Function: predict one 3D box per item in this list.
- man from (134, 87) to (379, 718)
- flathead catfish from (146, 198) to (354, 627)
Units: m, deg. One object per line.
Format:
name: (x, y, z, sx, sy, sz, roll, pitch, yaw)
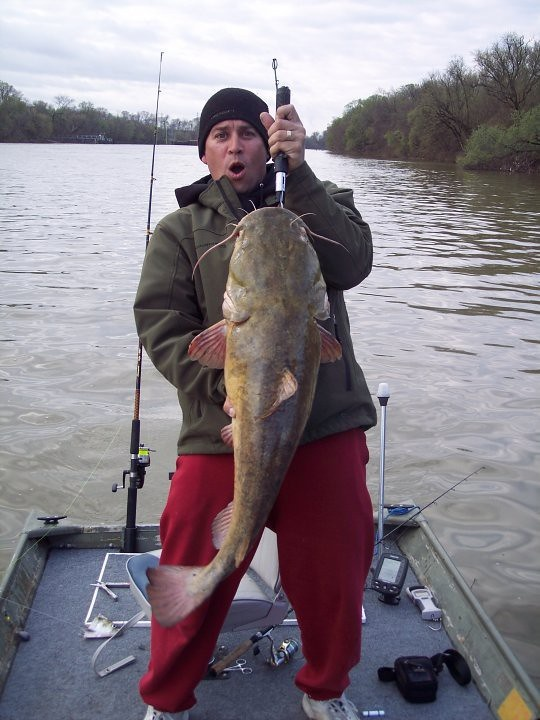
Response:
man: (-0.033, 0.005, 2.258, 0.990, 2.256, 0.776, 4, -15, -9)
flathead catfish: (-0.084, 0.158, 1.851, 0.565, 1.208, 0.342, 10, 12, -3)
